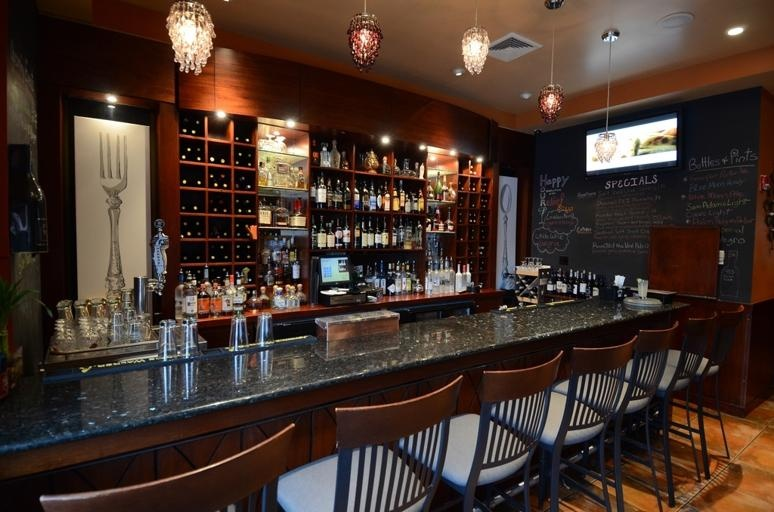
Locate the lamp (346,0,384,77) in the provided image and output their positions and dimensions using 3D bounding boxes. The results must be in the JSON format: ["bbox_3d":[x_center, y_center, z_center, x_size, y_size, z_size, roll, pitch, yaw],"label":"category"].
[{"bbox_3d":[-0.164,-1.665,4.269,0.237,0.323,0.222,-2,1,1],"label":"lamp"}]

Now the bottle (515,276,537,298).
[{"bbox_3d":[1.544,0.333,6.074,0.094,0.228,0.384,-2,1,-20],"label":"bottle"}]

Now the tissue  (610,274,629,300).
[{"bbox_3d":[2.394,0.331,5.691,0.134,0.235,0.377,-1,1,25],"label":"tissue "}]

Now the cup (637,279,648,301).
[{"bbox_3d":[2.522,0.328,5.441,0.073,0.175,0.279,-1,1,29],"label":"cup"}]

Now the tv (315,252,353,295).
[{"bbox_3d":[-0.578,0.196,5.844,0.373,0.373,0.155,9,-17,-39],"label":"tv"}]

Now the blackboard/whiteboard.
[{"bbox_3d":[3.030,-0.689,6.272,0.158,2.114,2.331,-3,5,-42],"label":"blackboard/whiteboard"}]
